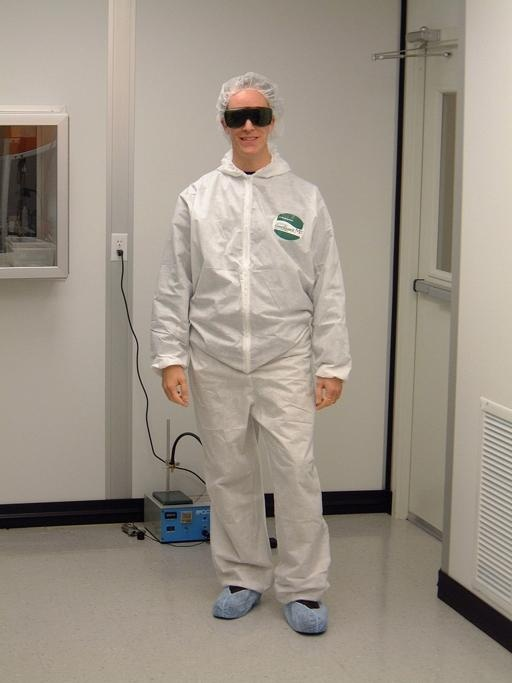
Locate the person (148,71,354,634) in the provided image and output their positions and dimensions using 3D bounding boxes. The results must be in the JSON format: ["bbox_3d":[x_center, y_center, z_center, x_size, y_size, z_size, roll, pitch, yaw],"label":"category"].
[{"bbox_3d":[-0.021,0.023,1.758,0.553,1.536,0.306,1,0,-11],"label":"person"}]

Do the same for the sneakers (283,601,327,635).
[{"bbox_3d":[0.139,0.764,1.701,0.123,0.087,0.114,1,0,7],"label":"sneakers"}]

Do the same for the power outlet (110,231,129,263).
[{"bbox_3d":[-0.556,-0.383,2.469,0.069,0.104,0.027,1,0,-19],"label":"power outlet"}]
